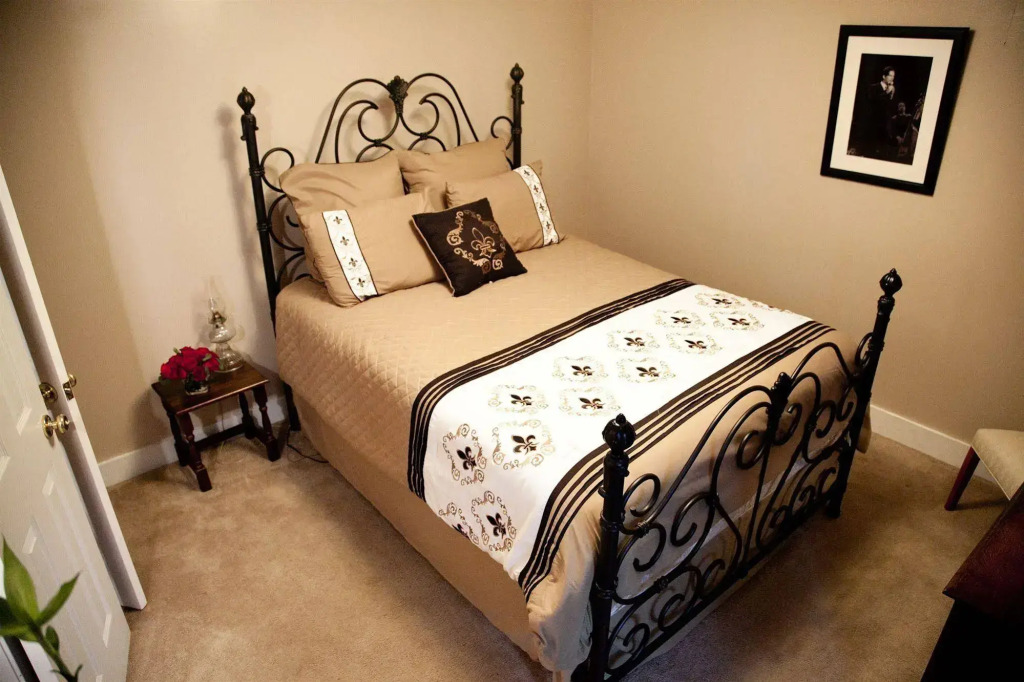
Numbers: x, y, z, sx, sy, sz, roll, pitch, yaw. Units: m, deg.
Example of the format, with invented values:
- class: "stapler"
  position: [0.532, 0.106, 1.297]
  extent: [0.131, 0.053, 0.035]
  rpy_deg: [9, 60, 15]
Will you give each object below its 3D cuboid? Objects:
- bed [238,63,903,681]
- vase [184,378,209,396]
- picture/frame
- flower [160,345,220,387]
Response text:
- class: "bed"
  position: [0.031, 0.352, 4.249]
  extent: [2.705, 2.352, 3.110]
  rpy_deg: [-25, 42, -29]
- class: "vase"
  position: [-1.645, 0.243, 3.699]
  extent: [0.079, 0.089, 0.081]
  rpy_deg: [30, 37, 30]
- class: "picture/frame"
  position: [2.011, -1.214, 3.657]
  extent: [0.684, 0.896, 0.056]
  rpy_deg: [29, 43, 34]
- class: "flower"
  position: [-1.676, 0.116, 3.694]
  extent: [0.228, 0.175, 0.235]
  rpy_deg: [25, 32, 31]
